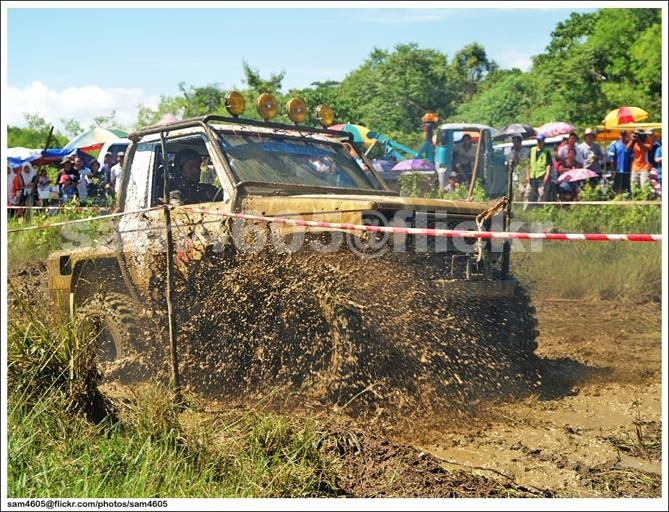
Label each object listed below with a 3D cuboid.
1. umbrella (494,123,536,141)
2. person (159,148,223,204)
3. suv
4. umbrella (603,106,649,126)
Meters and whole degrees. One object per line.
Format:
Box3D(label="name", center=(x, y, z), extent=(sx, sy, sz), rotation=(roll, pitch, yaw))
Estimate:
Box3D(label="umbrella", center=(4.413, -3.106, 16.264), extent=(0.804, 0.268, 0.804), rotation=(-3, 2, 10))
Box3D(label="person", center=(-1.682, -0.930, 7.658), extent=(0.399, 0.635, 0.967), rotation=(2, 8, 20))
Box3D(label="suv", center=(-0.913, -0.336, 7.833), extent=(5.205, 3.090, 3.016), rotation=(-8, -1, 31))
Box3D(label="umbrella", center=(6.799, -3.336, 15.426), extent=(0.819, 0.512, 1.318), rotation=(0, 5, 3))
